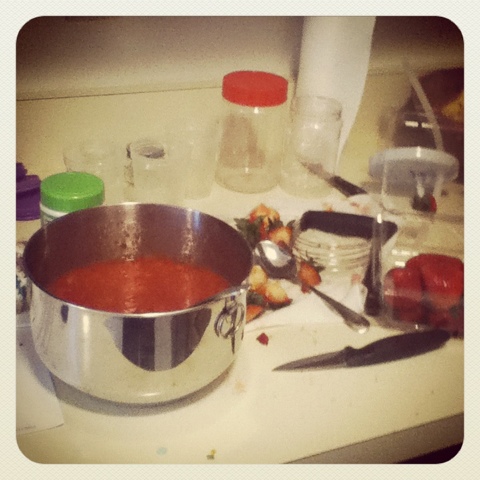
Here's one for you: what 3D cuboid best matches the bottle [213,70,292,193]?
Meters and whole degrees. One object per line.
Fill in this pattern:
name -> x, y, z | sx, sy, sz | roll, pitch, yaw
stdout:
bottle -> 0.022, -0.184, 1.049 | 0.127, 0.215, 0.135 | 2, 24, -1

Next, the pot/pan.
pot/pan -> -0.121, 0.077, 0.718 | 0.267, 0.168, 0.229 | 1, 29, 0

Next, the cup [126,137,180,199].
cup -> -0.151, -0.118, 0.987 | 0.107, 0.119, 0.102 | 1, 7, 0

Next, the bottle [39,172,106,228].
bottle -> -0.229, -0.063, 0.778 | 0.073, 0.075, 0.076 | 1, 31, -10

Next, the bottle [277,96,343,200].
bottle -> 0.124, -0.164, 1.009 | 0.125, 0.213, 0.127 | 0, 33, 0

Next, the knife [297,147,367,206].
knife -> 0.149, -0.111, 1.048 | 0.197, 0.045, 0.011 | 37, -2, 20

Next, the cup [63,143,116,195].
cup -> -0.261, -0.123, 0.977 | 0.099, 0.110, 0.095 | -2, -3, 0
